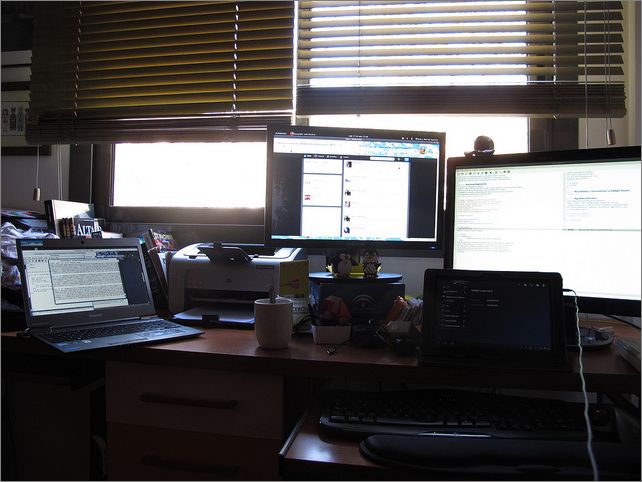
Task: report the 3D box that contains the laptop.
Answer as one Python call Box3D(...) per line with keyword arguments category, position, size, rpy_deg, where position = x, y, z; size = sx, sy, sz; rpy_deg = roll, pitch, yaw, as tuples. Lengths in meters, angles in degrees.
Box3D(category="laptop", position=(-0.775, 0.158, 1.840), size=(0.416, 0.290, 0.432), rpy_deg=(-1, 3, -44))

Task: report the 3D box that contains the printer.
Box3D(category="printer", position=(-0.289, 0.120, 2.072), size=(0.463, 0.270, 0.415), rpy_deg=(5, 6, 11))

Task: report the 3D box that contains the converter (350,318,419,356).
Box3D(category="converter", position=(0.195, 0.278, 1.739), size=(0.195, 0.083, 0.231), rpy_deg=(4, 5, 3))

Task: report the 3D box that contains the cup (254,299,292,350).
Box3D(category="cup", position=(-0.141, 0.251, 1.723), size=(0.107, 0.133, 0.124), rpy_deg=(4, 6, 5))

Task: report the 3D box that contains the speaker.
Box3D(category="speaker", position=(0.127, 0.179, 1.909), size=(0.308, 0.126, 0.237), rpy_deg=(4, 5, -7))
